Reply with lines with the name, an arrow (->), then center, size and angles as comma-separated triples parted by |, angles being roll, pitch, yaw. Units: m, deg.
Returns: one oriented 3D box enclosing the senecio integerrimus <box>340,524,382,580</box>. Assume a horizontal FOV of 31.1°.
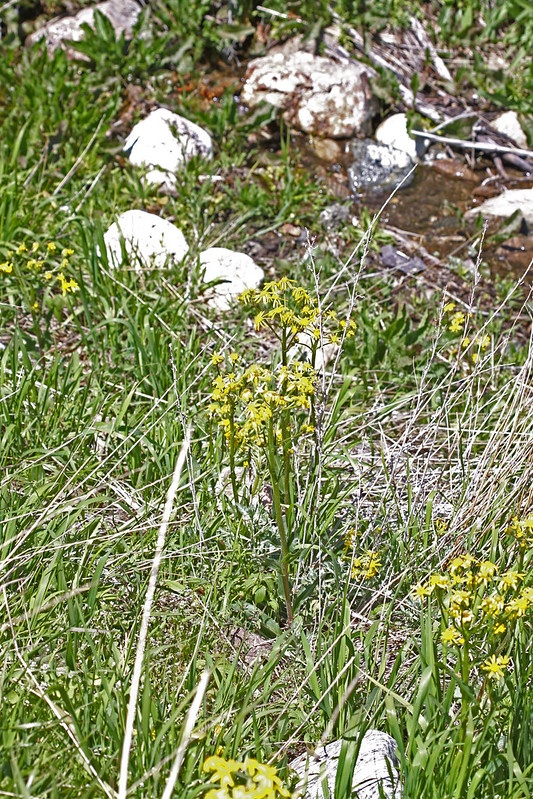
senecio integerrimus -> 0.277, 0.457, 2.816 | 0.100, 0.153, 0.149 | -34, 72, -3
